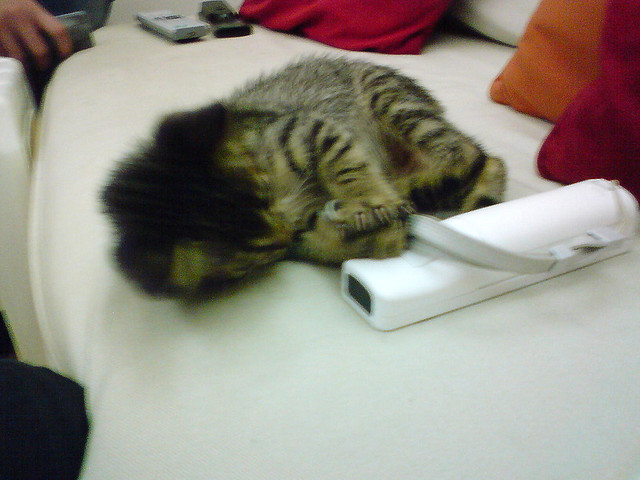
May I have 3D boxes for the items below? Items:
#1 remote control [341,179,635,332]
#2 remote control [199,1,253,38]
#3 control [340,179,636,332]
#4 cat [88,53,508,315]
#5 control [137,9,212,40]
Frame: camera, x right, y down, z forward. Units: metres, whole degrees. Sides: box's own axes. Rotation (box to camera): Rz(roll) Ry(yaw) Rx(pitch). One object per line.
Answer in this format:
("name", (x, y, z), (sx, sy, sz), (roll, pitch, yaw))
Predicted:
("remote control", (0.276, 0.011, 0.973), (0.436, 0.167, 0.189), (-26, 26, -6))
("remote control", (-0.229, -0.529, 1.445), (0.107, 0.034, 0.165), (-16, 43, -20))
("control", (0.248, 0.017, 0.967), (0.469, 0.165, 0.182), (-27, 31, -4))
("cat", (-0.029, -0.089, 1.107), (0.491, 0.691, 0.263), (7, 68, -48))
("control", (-0.342, -0.499, 1.379), (0.095, 0.024, 0.169), (-19, 36, -34))
